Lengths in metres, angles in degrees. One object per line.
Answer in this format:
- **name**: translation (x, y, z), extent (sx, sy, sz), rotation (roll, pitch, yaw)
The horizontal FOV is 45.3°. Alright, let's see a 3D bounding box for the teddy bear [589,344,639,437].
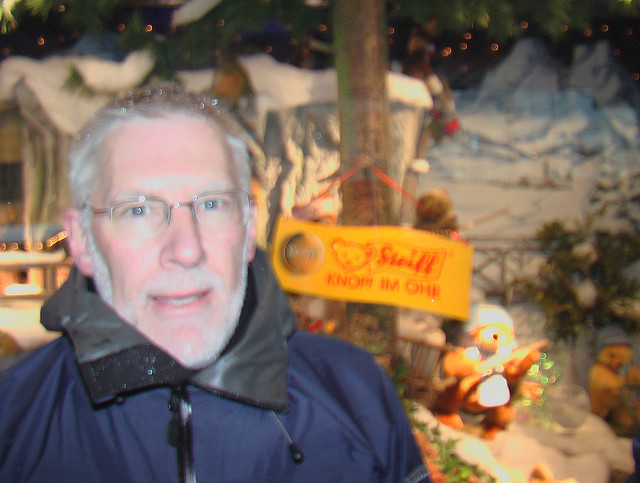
- **teddy bear**: translation (2.755, 1.387, 7.113), extent (0.477, 0.823, 0.234), rotation (-1, 4, -15)

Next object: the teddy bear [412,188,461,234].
- **teddy bear**: translation (1.111, -0.315, 7.378), extent (0.414, 0.449, 0.407), rotation (19, -30, 7)

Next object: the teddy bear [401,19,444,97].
- **teddy bear**: translation (0.961, -1.726, 7.191), extent (0.374, 0.784, 0.902), rotation (1, 4, 8)

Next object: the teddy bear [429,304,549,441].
- **teddy bear**: translation (1.470, 1.196, 6.834), extent (0.919, 1.167, 0.830), rotation (14, 14, 7)
